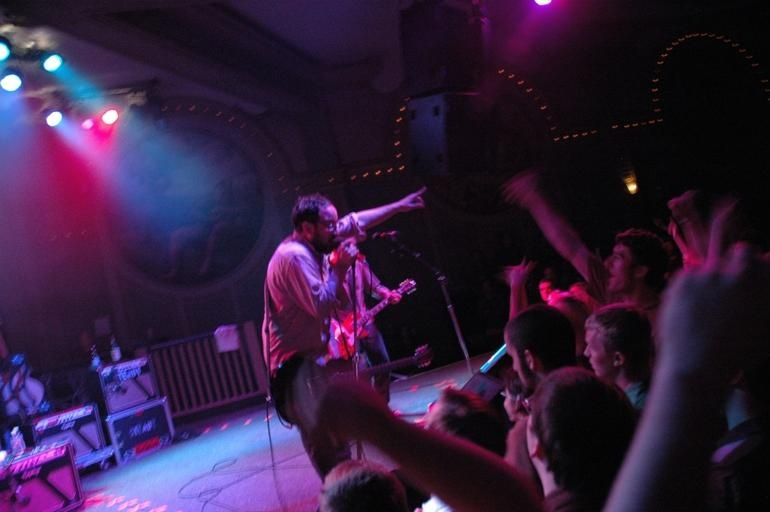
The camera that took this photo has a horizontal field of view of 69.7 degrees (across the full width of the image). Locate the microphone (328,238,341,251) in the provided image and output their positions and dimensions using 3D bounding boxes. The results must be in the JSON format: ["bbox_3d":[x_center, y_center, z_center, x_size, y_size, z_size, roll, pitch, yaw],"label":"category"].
[{"bbox_3d":[-0.340,-0.071,3.660,0.081,0.019,0.077,-40,3,8],"label":"microphone"}]

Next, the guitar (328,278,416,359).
[{"bbox_3d":[-0.098,0.570,4.815,0.146,0.363,1.037,-36,-3,35],"label":"guitar"}]

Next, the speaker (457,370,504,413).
[{"bbox_3d":[0.571,0.822,3.220,0.200,0.137,0.185,-4,42,31],"label":"speaker"}]
